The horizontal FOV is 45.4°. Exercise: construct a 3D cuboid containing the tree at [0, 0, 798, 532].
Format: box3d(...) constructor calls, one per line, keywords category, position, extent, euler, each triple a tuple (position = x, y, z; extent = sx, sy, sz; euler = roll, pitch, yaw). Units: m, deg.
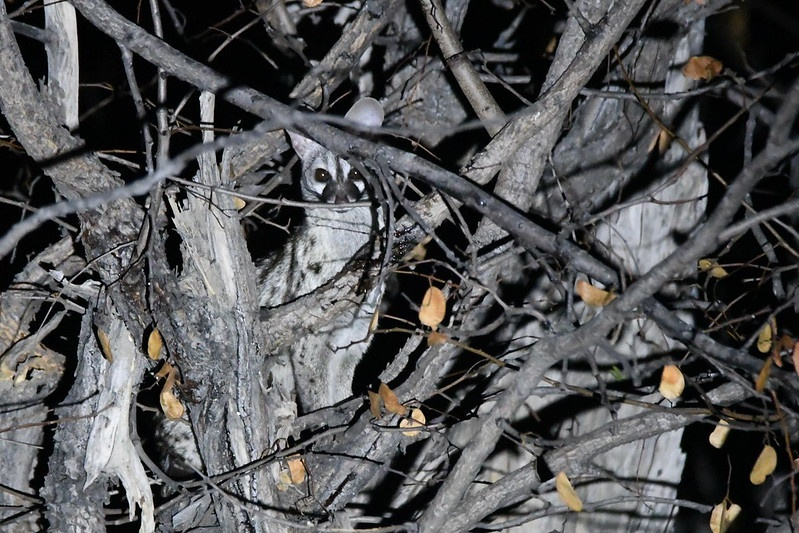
box3d(category="tree", position=(-0.314, -0.344, 6.506), extent=(4.133, 3.479, 2.994), euler=(-1, -44, 10))
